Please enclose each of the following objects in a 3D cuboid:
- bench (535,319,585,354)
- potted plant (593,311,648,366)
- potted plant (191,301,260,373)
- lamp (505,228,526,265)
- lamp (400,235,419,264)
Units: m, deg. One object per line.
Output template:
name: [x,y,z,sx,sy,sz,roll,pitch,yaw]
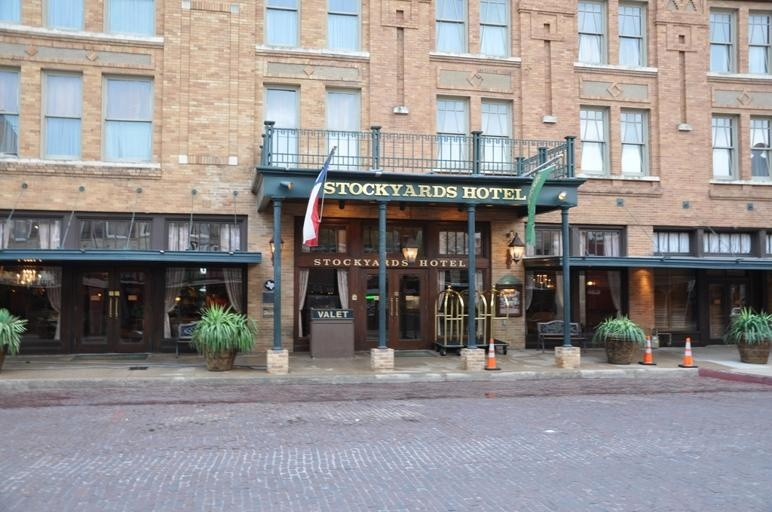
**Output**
bench: [5.983,2.783,29.314,1.578,1.061,1.181,2,11,8]
potted plant: [7.538,2.685,27.298,1.604,1.444,1.628,-3,-9,39]
potted plant: [-4.918,2.498,25.536,1.902,1.724,1.708,-2,-10,18]
lamp: [4.475,-0.224,29.298,0.637,1.102,0.870,1,11,7]
lamp: [0.814,-0.172,29.086,0.593,0.893,0.835,0,11,2]
